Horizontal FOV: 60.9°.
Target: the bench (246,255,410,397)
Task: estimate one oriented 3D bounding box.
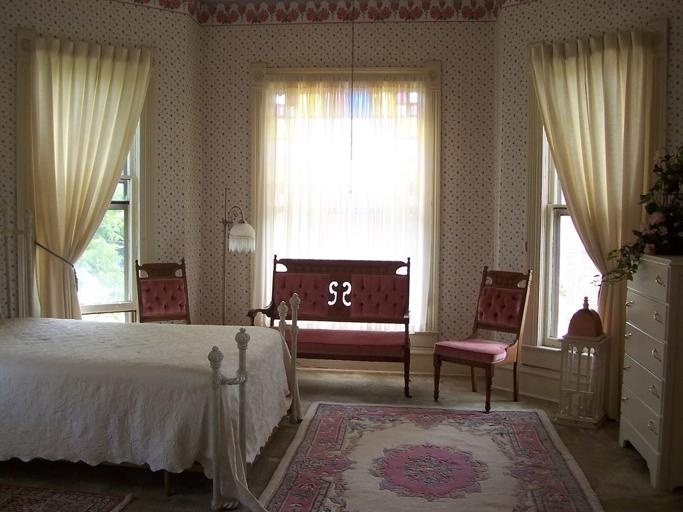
[{"bbox_3d":[-0.072,0.786,6.400,1.242,1.201,0.564,0,-1,7],"label":"bench"}]

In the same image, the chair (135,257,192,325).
[{"bbox_3d":[-2.075,0.410,6.930,0.609,1.241,0.661,-1,-3,-25],"label":"chair"}]

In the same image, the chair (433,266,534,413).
[{"bbox_3d":[1.531,0.840,6.187,0.673,1.373,0.858,6,9,39],"label":"chair"}]
